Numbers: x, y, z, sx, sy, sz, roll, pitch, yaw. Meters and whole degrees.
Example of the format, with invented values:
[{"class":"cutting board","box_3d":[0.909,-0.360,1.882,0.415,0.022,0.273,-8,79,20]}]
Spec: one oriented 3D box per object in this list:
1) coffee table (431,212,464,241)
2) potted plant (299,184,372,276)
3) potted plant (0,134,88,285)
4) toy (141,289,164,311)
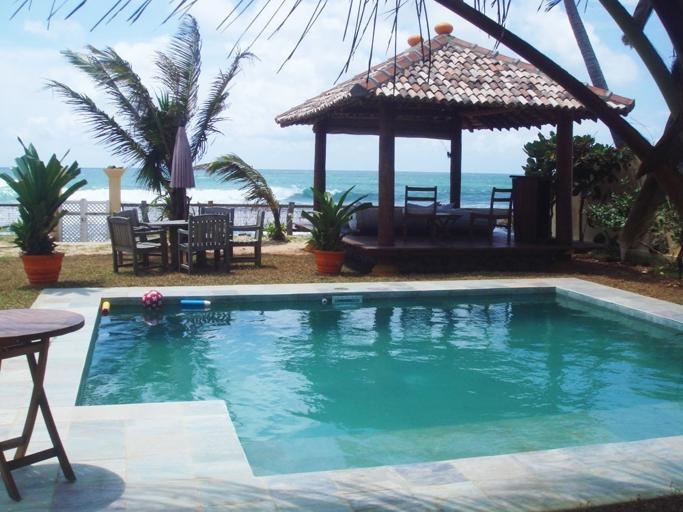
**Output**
[{"class":"coffee table","box_3d":[2.672,-0.807,13.099,1.050,0.441,0.626,-1,14,0]},{"class":"potted plant","box_3d":[-0.319,-0.673,11.838,1.115,1.806,2.717,1,10,-4]},{"class":"potted plant","box_3d":[-5.127,-0.724,8.757,1.181,2.509,0.873,-2,11,-16]},{"class":"toy","box_3d":[-2.924,0.685,7.928,0.317,0.275,0.294,2,10,-9]}]
